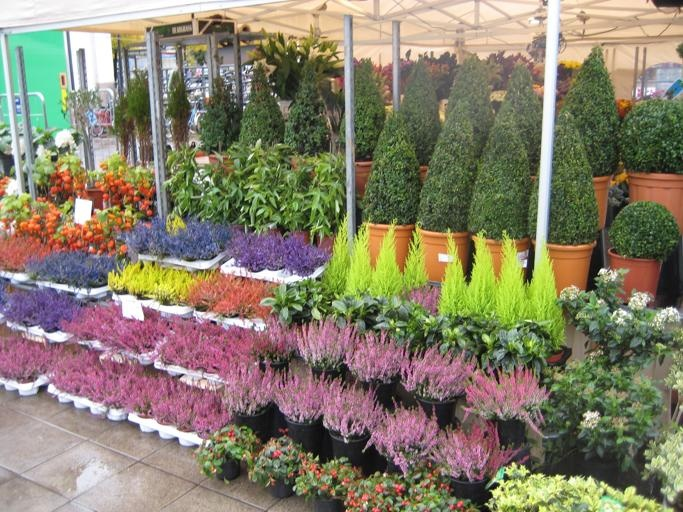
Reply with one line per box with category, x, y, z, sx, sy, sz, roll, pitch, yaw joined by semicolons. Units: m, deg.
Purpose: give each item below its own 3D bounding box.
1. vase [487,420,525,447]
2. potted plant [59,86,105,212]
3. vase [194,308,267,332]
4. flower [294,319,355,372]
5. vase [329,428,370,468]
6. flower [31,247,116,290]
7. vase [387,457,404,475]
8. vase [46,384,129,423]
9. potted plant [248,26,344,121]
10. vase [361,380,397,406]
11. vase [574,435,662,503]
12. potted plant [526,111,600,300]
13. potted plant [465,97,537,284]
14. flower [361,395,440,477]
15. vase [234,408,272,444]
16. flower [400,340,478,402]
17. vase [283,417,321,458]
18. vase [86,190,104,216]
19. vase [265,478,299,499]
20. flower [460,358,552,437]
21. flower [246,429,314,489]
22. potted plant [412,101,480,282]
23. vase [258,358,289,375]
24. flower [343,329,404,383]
vase;1.182;1.223;4.331;0.189;0.163;0.181;2;4;17
potted plant;-3.404;-1.478;8.241;0.423;1.439;1.419;-4;15;-24
vase;-0.982;0.581;5.537;0.522;0.155;0.082;2;-22;23
flower;-0.140;0.693;4.892;0.389;0.473;0.399;5;13;19
vase;0.068;1.349;4.476;0.233;0.220;0.264;-1;4;-10
flower;-2.884;0.119;6.666;0.519;0.242;0.538;9;19;16
vase;0.378;1.484;4.361;0.102;0.137;0.111;-3;-6;-3
vase;-2.296;1.228;5.606;0.603;0.163;0.372;14;9;27
potted plant;-0.508;-2.081;7.102;0.814;0.944;0.884;0;14;3
vase;0.319;1.040;4.733;0.192;0.166;0.197;1;9;-3
vase;1.937;1.535;4.503;0.399;0.468;0.786;-1;-4;12
potted plant;1.893;-0.391;5.121;0.491;1.448;0.500;-13;14;-25
potted plant;1.352;-0.510;5.199;0.504;1.305;0.282;6;13;18
flower;0.455;1.207;4.436;0.450;0.514;0.454;-18;7;-40
vase;-0.693;1.284;4.797;0.233;0.291;0.282;-1;8;-5
flower;0.711;0.860;4.466;0.376;0.334;0.431;5;13;24
vase;-0.290;1.349;4.640;0.239;0.281;0.252;2;7;9
vase;-3.122;-0.734;7.860;0.207;0.272;0.140;6;14;16
vase;-0.450;1.723;4.588;0.159;0.138;0.173;0;2;1
flower;1.141;0.973;4.270;0.464;0.338;0.532;5;13;21
flower;-0.457;1.503;4.654;0.338;0.271;0.362;-1;18;8
potted plant;0.988;-0.663;5.621;0.515;1.693;0.600;10;-6;-35
vase;-0.544;0.919;4.994;0.236;0.140;0.229;1;15;-7
flower;0.263;0.755;4.803;0.368;0.444;0.357;-2;2;-29
